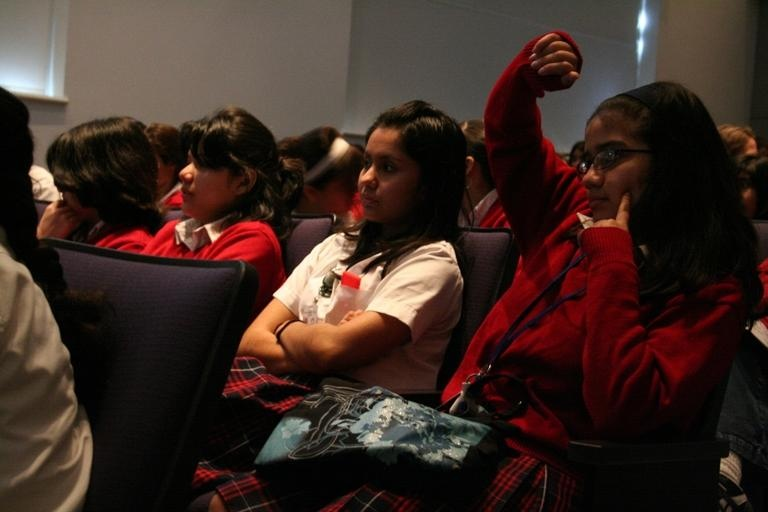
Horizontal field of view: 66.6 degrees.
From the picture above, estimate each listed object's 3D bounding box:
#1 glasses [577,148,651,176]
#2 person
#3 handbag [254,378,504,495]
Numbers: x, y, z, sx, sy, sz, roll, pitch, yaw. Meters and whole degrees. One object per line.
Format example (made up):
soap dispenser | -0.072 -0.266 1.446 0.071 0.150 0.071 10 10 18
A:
glasses | 0.586 -0.235 1.469 0.084 0.025 0.082 2 -12 -24
person | 0.323 -0.025 1.504 1.227 1.108 0.666 -3 13 -13
handbag | -0.024 0.410 1.311 0.435 0.133 0.252 4 28 18
